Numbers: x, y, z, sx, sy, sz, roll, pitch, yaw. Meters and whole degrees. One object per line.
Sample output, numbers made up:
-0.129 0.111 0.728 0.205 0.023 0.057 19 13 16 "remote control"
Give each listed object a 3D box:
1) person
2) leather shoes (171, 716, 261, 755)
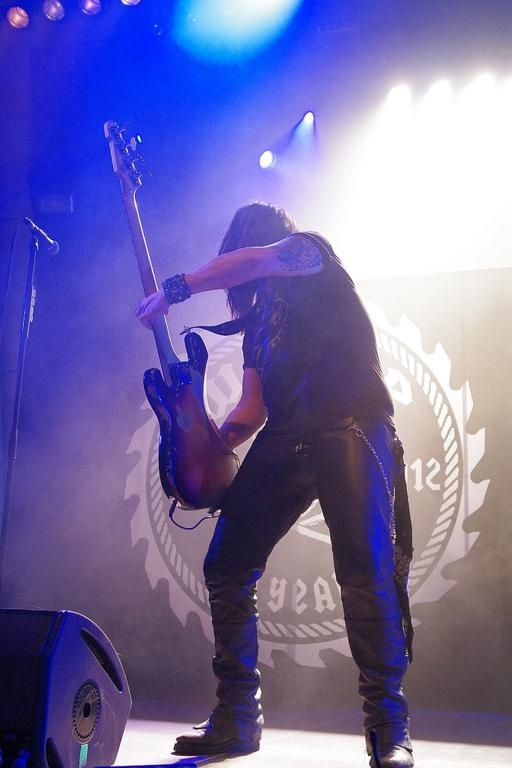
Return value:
0.059 0.196 1.670 0.693 1.485 0.675 -3 3 21 "person"
-0.102 0.884 1.618 0.218 0.100 0.088 6 -25 -9 "leather shoes"
